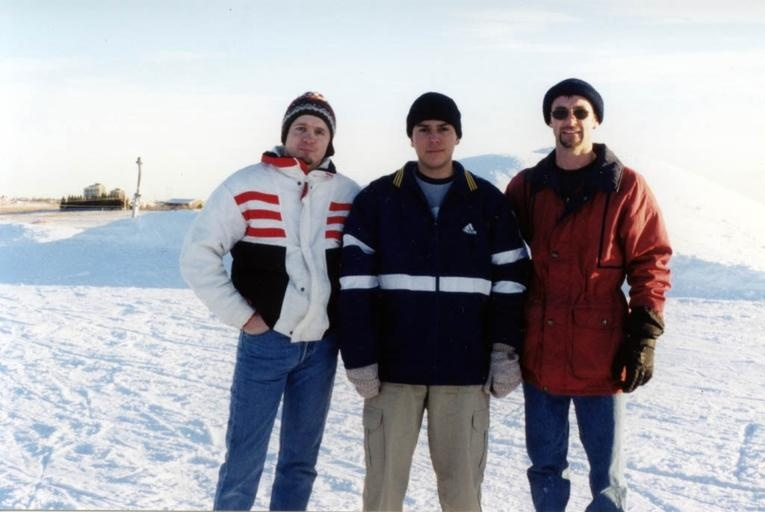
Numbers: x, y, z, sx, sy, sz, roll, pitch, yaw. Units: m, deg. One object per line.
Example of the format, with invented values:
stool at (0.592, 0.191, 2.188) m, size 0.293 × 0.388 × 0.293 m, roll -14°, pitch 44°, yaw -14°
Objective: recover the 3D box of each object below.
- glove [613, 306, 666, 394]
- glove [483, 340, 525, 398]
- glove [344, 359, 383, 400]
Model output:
glove at (2.248, 0.809, 6.258) m, size 0.469 × 0.743 × 0.305 m, roll 18°, pitch -3°, yaw -10°
glove at (1.101, 1.017, 6.220) m, size 0.344 × 0.491 × 0.184 m, roll 1°, pitch 5°, yaw -1°
glove at (-0.142, 1.110, 6.147) m, size 0.265 × 0.277 × 0.310 m, roll -5°, pitch -2°, yaw -30°
